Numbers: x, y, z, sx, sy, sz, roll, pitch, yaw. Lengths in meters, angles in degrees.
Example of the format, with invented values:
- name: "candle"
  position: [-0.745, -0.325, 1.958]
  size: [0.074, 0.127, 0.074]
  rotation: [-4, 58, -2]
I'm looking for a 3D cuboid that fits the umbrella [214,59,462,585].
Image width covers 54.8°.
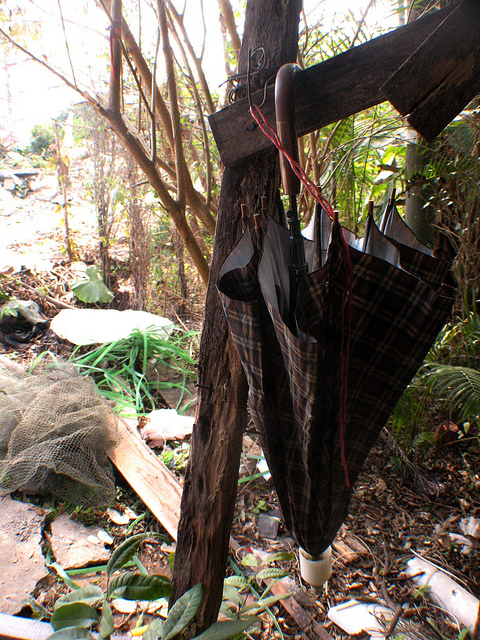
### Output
- name: "umbrella"
  position: [0.132, 0.031, 0.746]
  size: [0.353, 0.809, 0.347]
  rotation: [5, 3, 13]
